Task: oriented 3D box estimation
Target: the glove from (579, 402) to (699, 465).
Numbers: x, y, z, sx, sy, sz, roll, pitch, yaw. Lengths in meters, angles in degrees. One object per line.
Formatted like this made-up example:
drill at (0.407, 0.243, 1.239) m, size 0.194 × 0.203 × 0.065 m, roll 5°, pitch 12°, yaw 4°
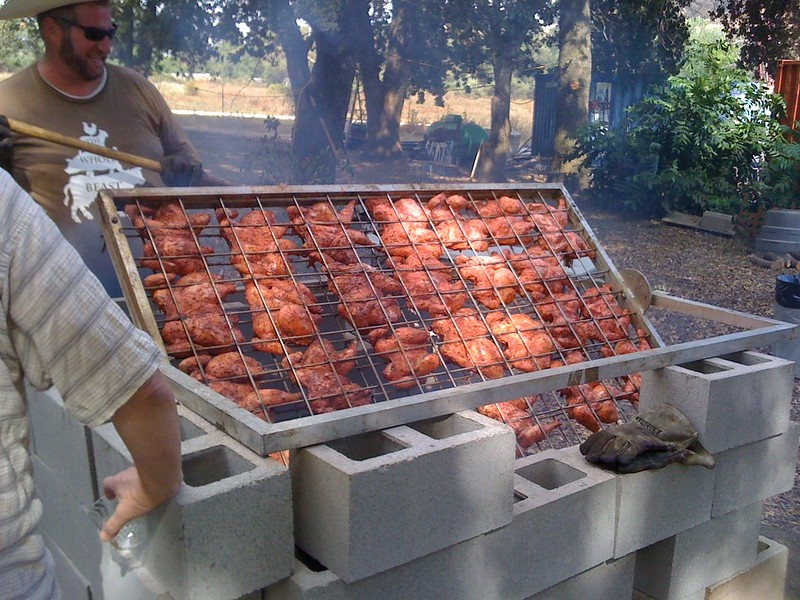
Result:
glove at (1.089, 0.598, 2.696) m, size 0.382 × 0.099 × 0.256 m, roll -11°, pitch 17°, yaw -24°

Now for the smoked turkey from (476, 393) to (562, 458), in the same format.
smoked turkey at (0.626, 0.610, 3.061) m, size 0.416 × 0.127 × 0.410 m, roll -3°, pitch 26°, yaw -20°

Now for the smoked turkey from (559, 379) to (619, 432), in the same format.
smoked turkey at (1.007, 0.546, 3.270) m, size 0.313 × 0.125 × 0.309 m, roll -8°, pitch 37°, yaw -8°
